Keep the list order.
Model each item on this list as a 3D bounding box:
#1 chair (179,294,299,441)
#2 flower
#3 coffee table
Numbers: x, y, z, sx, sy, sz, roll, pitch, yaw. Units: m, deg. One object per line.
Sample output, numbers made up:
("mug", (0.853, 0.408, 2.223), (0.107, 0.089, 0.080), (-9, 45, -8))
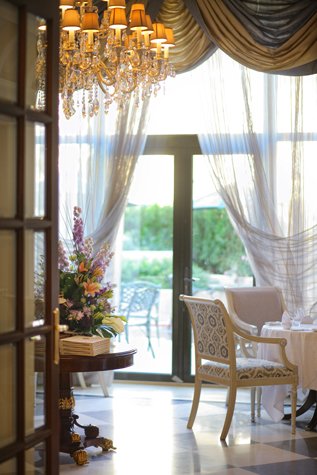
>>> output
("chair", (0.569, 0.920, 3.399), (0.756, 0.968, 0.572), (2, -5, -19))
("flower", (-0.414, 0.215, 2.872), (0.405, 0.784, 0.296), (2, -5, -14))
("coffee table", (-0.426, 1.037, 3.042), (0.432, 0.689, 1.068), (1, -5, -12))
